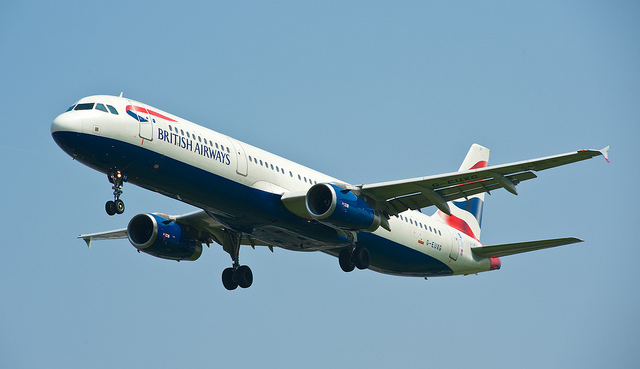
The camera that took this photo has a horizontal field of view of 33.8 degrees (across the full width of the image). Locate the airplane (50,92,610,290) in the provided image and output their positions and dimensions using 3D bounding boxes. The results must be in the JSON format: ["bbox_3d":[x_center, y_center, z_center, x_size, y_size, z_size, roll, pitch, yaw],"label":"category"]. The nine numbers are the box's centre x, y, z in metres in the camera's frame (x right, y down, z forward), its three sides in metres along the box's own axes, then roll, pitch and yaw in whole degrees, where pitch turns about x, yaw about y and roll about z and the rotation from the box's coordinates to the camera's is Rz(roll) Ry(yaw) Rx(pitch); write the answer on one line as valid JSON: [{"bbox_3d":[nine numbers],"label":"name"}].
[{"bbox_3d":[-1.016,0.550,38.289,10.557,3.724,11.482,24,-27,-34],"label":"airplane"}]
